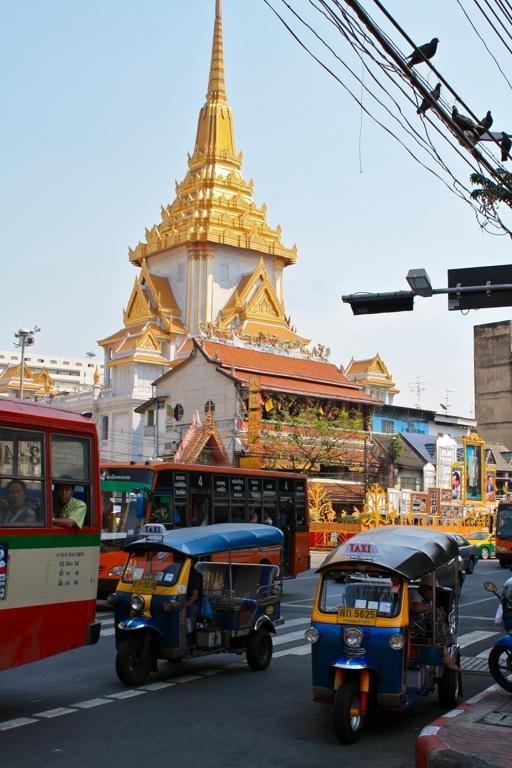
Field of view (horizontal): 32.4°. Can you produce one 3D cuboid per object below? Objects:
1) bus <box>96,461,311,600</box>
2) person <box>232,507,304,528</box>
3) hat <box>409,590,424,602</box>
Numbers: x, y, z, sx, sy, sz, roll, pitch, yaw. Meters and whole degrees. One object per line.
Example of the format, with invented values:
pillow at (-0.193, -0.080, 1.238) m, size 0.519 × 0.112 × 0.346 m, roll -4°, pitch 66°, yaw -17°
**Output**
bus at (-1.528, 3.352, 22.830) m, size 2.316 × 2.845 × 7.390 m, roll -5°, pitch -8°, yaw 37°
person at (0.376, 3.688, 24.194) m, size 0.693 × 0.637 × 2.367 m, roll -8°, pitch -12°, yaw 40°
hat at (1.633, 2.173, 9.023) m, size 0.151 × 0.114 × 0.214 m, roll -9°, pitch -8°, yaw 9°
